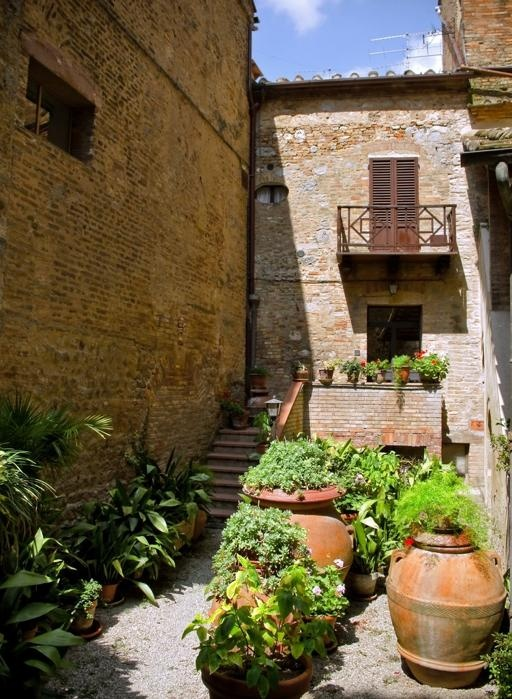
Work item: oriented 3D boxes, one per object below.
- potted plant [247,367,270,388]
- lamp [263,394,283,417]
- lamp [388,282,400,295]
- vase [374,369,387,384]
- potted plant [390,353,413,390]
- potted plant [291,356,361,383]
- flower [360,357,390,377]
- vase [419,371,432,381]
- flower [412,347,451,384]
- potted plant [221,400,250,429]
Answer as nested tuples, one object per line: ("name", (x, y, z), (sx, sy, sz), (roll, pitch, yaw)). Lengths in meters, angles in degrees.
("potted plant", (0.002, 0.467, 9.616), (0.309, 0.319, 0.301), (5, -7, -34))
("lamp", (0.215, 0.691, 7.218), (0.259, 0.346, 0.257), (0, -8, 7))
("lamp", (2.365, -1.059, 10.128), (0.189, 0.259, 0.192), (-2, 4, 2))
("vase", (1.953, 0.424, 9.242), (0.189, 0.214, 0.193), (1, -8, 2))
("potted plant", (2.225, 0.314, 9.066), (0.426, 0.497, 0.402), (0, -10, 7))
("potted plant", (1.167, 0.348, 9.530), (0.983, 0.380, 0.498), (-1, 0, 18))
("flower", (1.957, 0.289, 9.482), (0.348, 0.179, 0.297), (-4, 1, -38))
("vase", (2.582, 0.429, 8.961), (0.182, 0.181, 0.140), (8, 35, 3))
("flower", (2.681, 0.236, 8.921), (0.491, 0.439, 0.502), (2, -1, 8))
("potted plant", (-0.266, 0.949, 8.603), (0.405, 0.406, 0.373), (2, -6, -39))
